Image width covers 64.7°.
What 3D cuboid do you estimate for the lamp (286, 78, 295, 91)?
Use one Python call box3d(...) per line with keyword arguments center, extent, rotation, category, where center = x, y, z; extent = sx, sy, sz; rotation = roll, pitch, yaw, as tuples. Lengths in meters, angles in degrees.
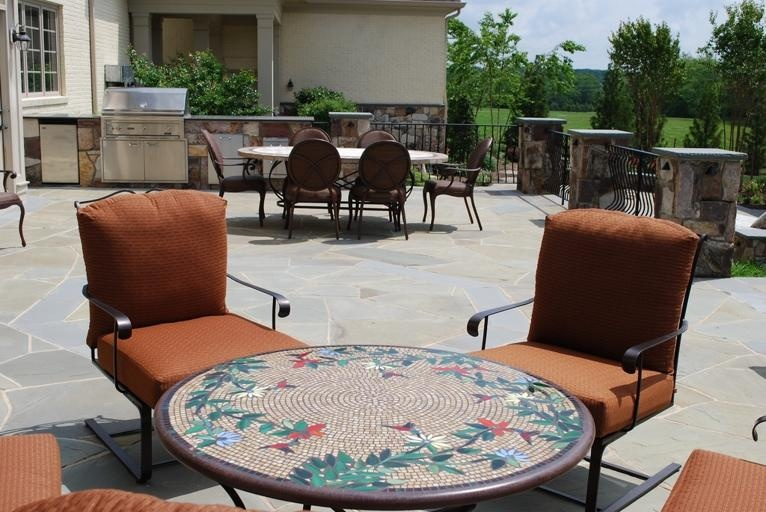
box3d(center=(-2.599, -4.859, 17.086), extent=(0.318, 0.325, 0.289), rotation=(-7, 18, -15), category="lamp")
